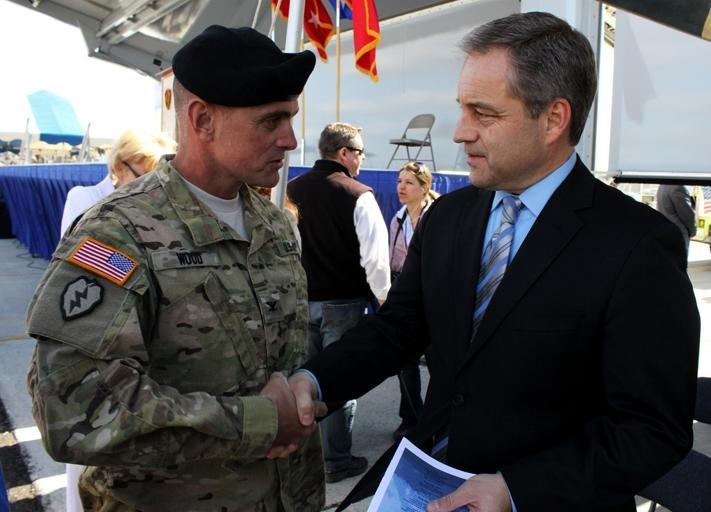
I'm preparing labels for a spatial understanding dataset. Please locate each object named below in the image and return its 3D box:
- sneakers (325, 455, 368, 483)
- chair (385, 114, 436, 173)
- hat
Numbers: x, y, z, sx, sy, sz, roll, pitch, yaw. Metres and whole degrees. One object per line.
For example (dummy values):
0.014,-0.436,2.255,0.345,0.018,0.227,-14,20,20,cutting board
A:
-0.052,1.519,3.669,0.343,0.151,0.124,-14,19,-35,sneakers
1.061,-2.185,9.469,0.806,1.099,0.703,-4,12,-34,chair
-0.418,-0.630,1.757,0.412,0.171,0.318,9,24,29,hat
